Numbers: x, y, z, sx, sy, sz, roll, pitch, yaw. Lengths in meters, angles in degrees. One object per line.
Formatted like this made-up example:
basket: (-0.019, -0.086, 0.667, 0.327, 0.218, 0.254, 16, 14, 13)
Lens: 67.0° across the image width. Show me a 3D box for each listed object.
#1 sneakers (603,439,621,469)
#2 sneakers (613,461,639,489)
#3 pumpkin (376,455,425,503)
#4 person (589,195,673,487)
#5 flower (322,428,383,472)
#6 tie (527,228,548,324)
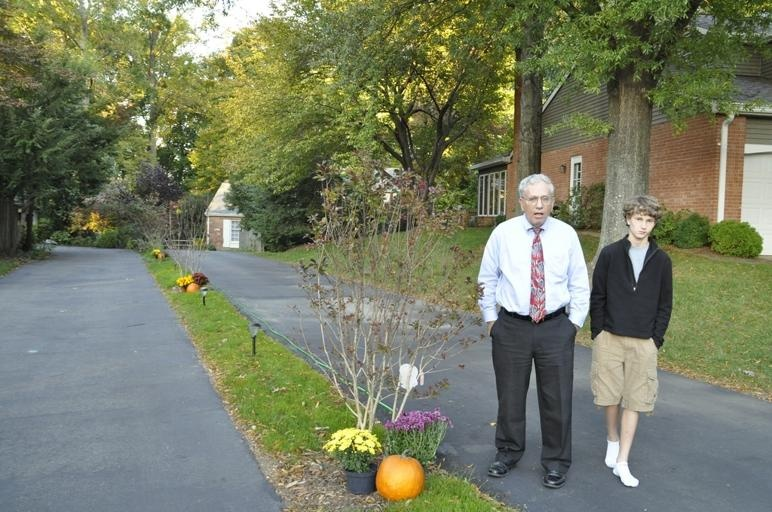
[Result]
sneakers: (2.624, 2.308, 6.795, 0.127, 0.317, 0.151, 6, -6, -16)
sneakers: (2.697, 2.465, 6.600, 0.139, 0.157, 0.378, -5, -7, -4)
pumpkin: (0.147, 2.399, 6.267, 0.531, 0.431, 0.276, 2, 11, 3)
person: (2.710, 0.925, 6.643, 0.822, 3.177, 0.782, 8, 14, 31)
flower: (-0.365, 2.112, 6.479, 0.814, 0.523, 0.556, 0, 0, 2)
tie: (1.641, 0.224, 6.362, 0.176, 0.849, 0.184, 0, -1, -1)
